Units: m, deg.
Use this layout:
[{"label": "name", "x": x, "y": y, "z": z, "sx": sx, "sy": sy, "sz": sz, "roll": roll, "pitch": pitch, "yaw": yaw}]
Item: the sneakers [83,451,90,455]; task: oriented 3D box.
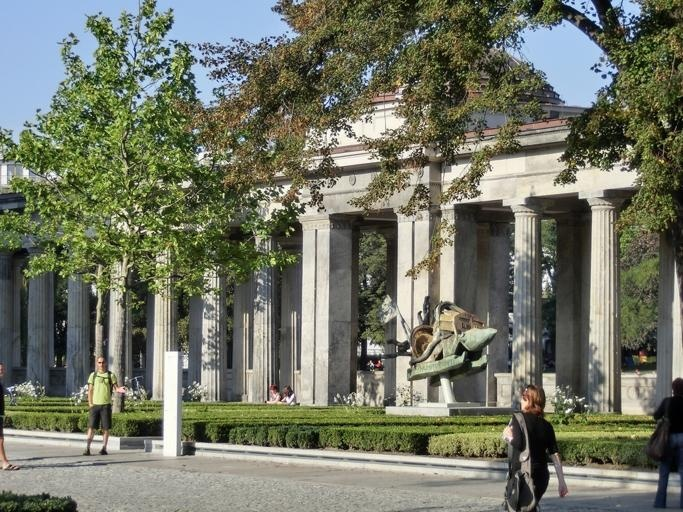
[{"label": "sneakers", "x": -6.732, "y": 5.163, "z": 34.243, "sx": 0.155, "sy": 0.138, "sz": 0.267, "roll": 1, "pitch": -11, "yaw": -13}]

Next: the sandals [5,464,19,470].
[{"label": "sandals", "x": -8.033, "y": 5.101, "z": 31.526, "sx": 0.252, "sy": 0.106, "sz": 0.136, "roll": 0, "pitch": 1, "yaw": -9}]

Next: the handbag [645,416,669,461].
[{"label": "handbag", "x": 6.733, "y": 3.868, "z": 27.555, "sx": 0.361, "sy": 0.926, "sz": 0.438, "roll": 7, "pitch": -13, "yaw": -39}]
